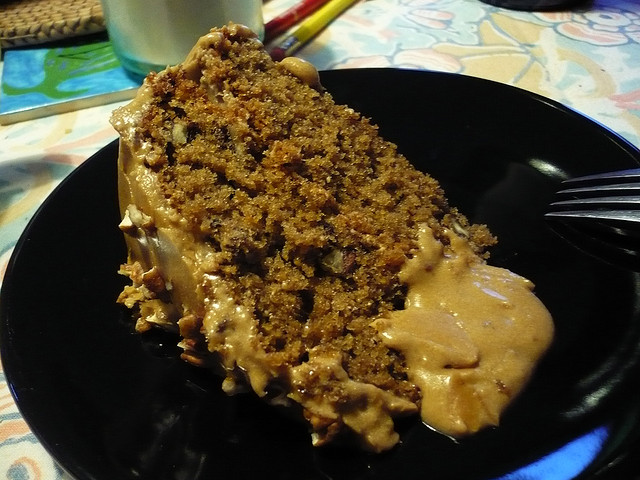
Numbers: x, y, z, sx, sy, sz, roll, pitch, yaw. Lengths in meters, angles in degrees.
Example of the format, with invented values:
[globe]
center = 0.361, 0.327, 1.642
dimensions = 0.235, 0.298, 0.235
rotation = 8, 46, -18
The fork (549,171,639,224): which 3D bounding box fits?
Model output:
[fork]
center = 0.504, -0.077, 1.238
dimensions = 0.173, 0.019, 0.069
rotation = 7, 61, 26
